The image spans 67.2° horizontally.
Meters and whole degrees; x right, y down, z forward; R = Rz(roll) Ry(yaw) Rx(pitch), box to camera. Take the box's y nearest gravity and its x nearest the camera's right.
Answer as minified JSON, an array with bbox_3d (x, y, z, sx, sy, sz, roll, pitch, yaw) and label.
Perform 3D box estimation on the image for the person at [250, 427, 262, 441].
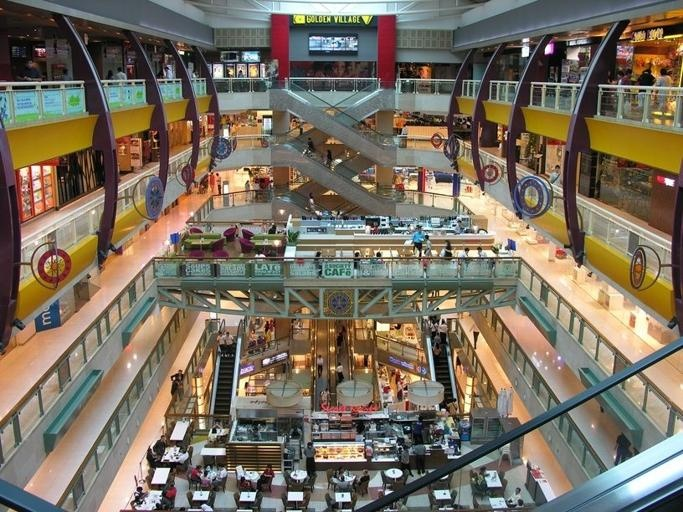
[{"bbox_3d":[-3.308,6.972,20.198,0.378,0.405,0.750,5,-57,-1],"label":"person"}]

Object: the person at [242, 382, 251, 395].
[{"bbox_3d":[-4.993,7.161,27.613,0.438,0.535,0.833,-1,-77,-9],"label":"person"}]

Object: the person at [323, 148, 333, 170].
[{"bbox_3d":[-0.851,-7.002,35.489,0.534,2.096,0.797,-17,-56,11],"label":"person"}]

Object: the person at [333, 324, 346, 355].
[{"bbox_3d":[-0.027,4.498,28.883,0.567,2.010,0.530,9,-55,-7],"label":"person"}]

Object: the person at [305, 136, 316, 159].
[{"bbox_3d":[-2.114,-7.803,36.070,0.729,2.795,0.639,32,-61,-22],"label":"person"}]

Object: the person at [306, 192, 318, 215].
[{"bbox_3d":[-2.060,-3.854,36.460,0.693,2.168,1.162,-19,-57,12],"label":"person"}]

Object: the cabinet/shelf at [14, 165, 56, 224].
[{"bbox_3d":[-9.699,-1.984,16.293,0.547,1.841,1.820,4,-72,5],"label":"cabinet/shelf"}]
